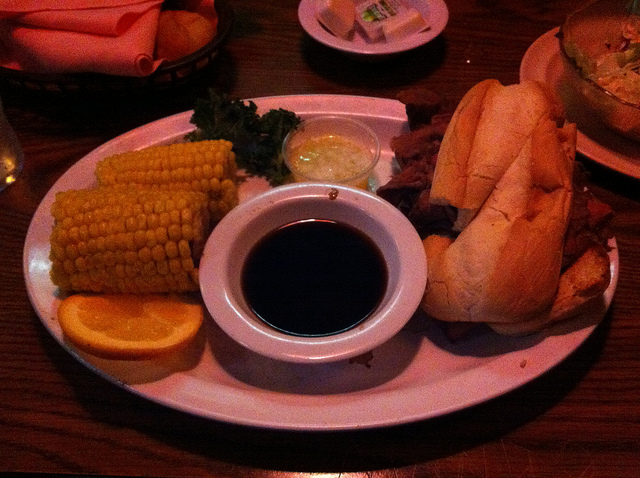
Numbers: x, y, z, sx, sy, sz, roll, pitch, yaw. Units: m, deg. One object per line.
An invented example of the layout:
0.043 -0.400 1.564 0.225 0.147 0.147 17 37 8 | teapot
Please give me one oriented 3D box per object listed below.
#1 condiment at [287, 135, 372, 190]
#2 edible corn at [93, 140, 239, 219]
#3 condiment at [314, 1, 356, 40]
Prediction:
0.038 -0.298 2.074 0.226 0.086 0.218 -29 54 -16 | condiment
-0.493 -0.198 1.914 0.471 0.183 0.230 0 65 -1 | edible corn
0.068 -0.970 2.407 0.172 0.079 0.169 38 96 -8 | condiment
